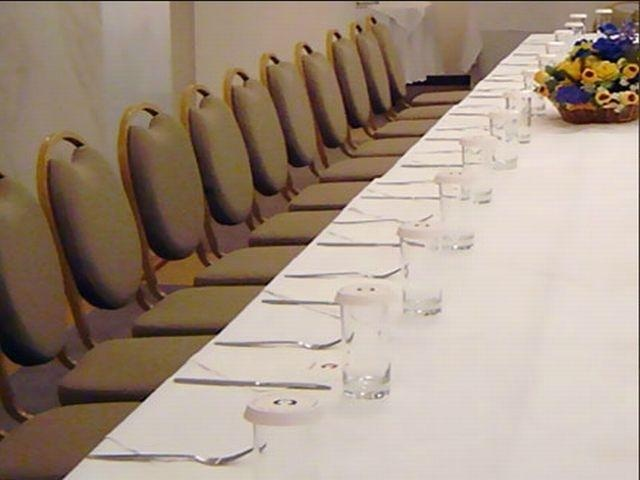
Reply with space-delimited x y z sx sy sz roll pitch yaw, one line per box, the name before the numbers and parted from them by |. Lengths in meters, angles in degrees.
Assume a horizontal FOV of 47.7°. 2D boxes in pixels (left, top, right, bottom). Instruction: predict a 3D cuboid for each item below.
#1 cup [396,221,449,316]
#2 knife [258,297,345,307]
cup | 0.209 0.063 1.491 0.090 0.190 0.050 0 -8 -18
knife | -0.035 0.128 1.504 0.192 0.017 0.023 2 32 5
